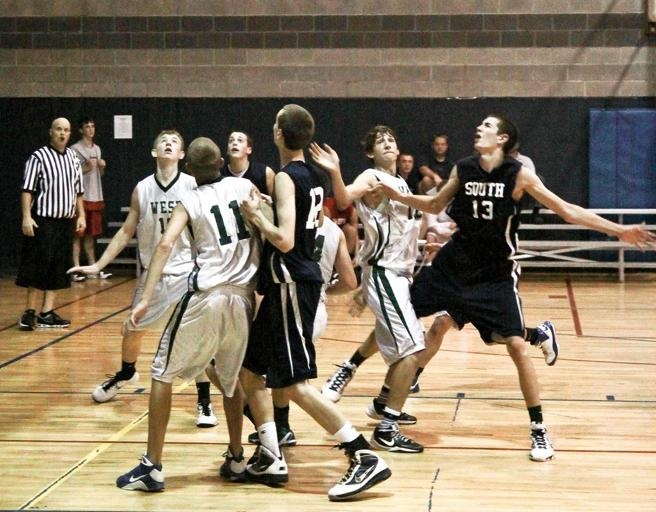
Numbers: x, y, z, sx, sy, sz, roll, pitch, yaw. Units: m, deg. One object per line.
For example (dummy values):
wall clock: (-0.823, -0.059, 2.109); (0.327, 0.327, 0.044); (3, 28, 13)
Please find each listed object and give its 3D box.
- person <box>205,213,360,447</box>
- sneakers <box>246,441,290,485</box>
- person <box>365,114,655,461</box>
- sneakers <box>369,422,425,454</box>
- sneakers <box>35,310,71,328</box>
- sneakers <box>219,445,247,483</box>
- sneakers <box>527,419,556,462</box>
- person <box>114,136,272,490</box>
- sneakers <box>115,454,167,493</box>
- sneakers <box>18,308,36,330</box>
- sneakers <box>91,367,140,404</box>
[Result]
person: (-0.297, 0.474, 4.613); (0.597, 1.617, 0.565); (19, -33, 6)
sneakers: (-0.364, 1.238, 4.598); (0.139, 0.279, 0.370); (3, -1, -44)
person: (1.053, 0.159, 4.958); (1.401, 2.077, 0.488); (3, 9, 25)
sneakers: (0.424, 1.160, 4.965); (0.390, 0.202, 0.146); (4, 1, 2)
sneakers: (-2.829, 0.669, 8.049); (0.437, 0.215, 0.160); (2, 0, -7)
sneakers: (-0.548, 1.249, 4.531); (0.094, 0.163, 0.249); (2, 1, -5)
sneakers: (1.314, 1.163, 4.748); (0.101, 0.131, 0.287); (-4, -4, 9)
person: (-0.751, 0.341, 4.410); (0.759, 1.971, 0.349); (-1, 8, -6)
sneakers: (-1.044, 1.250, 4.384); (0.341, 0.238, 0.138); (2, -16, 19)
sneakers: (-3.041, 0.664, 7.832); (0.102, 0.131, 0.304); (5, 2, -15)
sneakers: (-1.600, 1.002, 5.855); (0.264, 0.093, 0.112); (-35, -27, -11)
